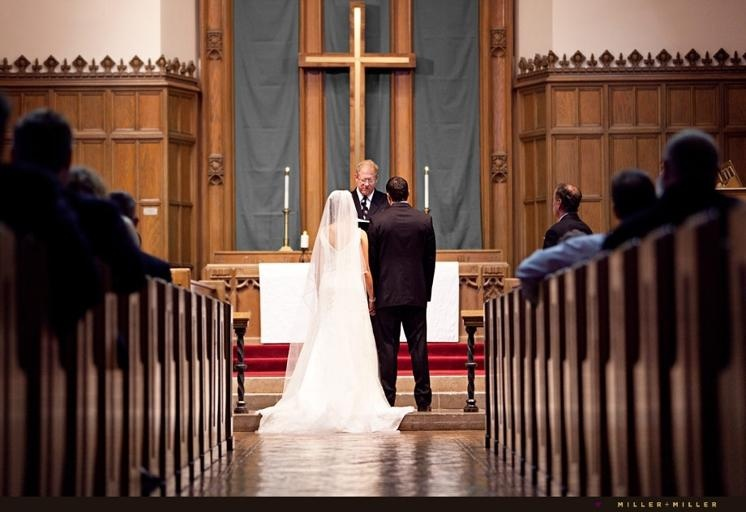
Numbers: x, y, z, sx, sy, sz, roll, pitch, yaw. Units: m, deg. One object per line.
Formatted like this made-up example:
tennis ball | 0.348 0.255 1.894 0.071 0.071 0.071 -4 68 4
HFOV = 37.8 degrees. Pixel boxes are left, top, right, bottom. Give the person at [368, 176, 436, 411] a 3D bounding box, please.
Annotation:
person | 0.257 0.337 9.516 0.573 2.011 0.368 -1 2 -1

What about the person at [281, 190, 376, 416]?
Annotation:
person | -0.359 0.446 9.384 0.934 1.973 0.843 -1 2 0

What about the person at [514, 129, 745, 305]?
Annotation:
person | 1.497 -0.210 6.142 0.432 0.951 1.415 -2 3 -39
